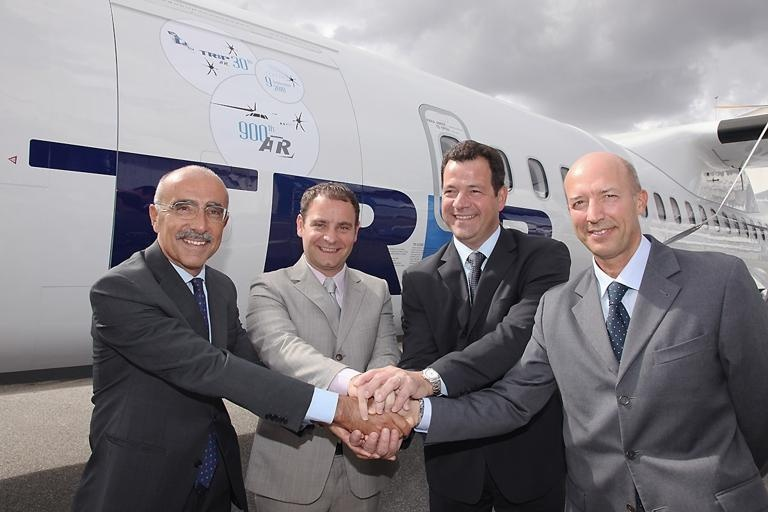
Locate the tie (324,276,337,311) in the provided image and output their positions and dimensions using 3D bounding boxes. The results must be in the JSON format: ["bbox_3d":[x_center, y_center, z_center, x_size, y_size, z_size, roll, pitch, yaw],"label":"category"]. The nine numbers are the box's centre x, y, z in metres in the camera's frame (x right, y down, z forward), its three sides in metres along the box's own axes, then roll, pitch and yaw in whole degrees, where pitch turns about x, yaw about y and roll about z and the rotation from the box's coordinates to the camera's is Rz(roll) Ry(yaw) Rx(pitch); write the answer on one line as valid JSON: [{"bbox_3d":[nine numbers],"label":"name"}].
[{"bbox_3d":[-0.366,0.272,3.549,0.073,0.252,0.073,-15,-7,-5],"label":"tie"}]

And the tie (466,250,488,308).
[{"bbox_3d":[0.655,0.172,3.501,0.119,0.343,0.034,4,-22,15],"label":"tie"}]

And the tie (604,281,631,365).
[{"bbox_3d":[1.335,0.385,2.789,0.117,0.457,0.051,0,-30,16],"label":"tie"}]
